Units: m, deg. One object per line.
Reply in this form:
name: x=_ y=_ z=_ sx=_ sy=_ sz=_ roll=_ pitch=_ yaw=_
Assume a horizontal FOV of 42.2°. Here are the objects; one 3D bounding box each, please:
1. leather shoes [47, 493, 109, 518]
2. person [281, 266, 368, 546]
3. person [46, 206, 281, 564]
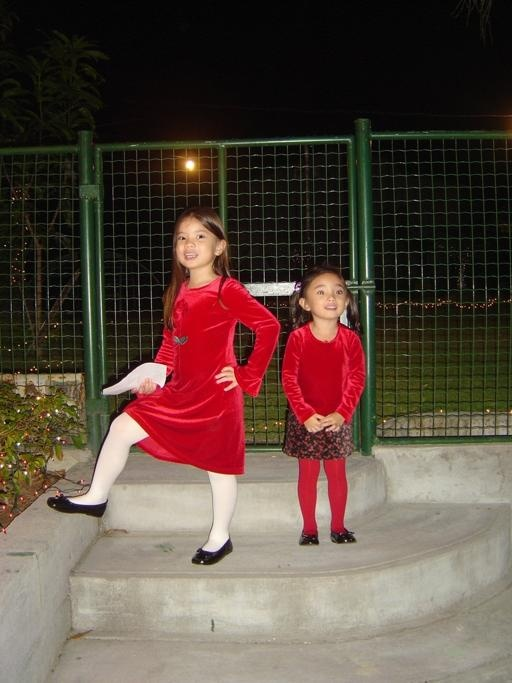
leather shoes: x=-0.750 y=0.682 z=2.801 sx=0.271 sy=0.090 sz=0.092 roll=18 pitch=-2 yaw=-19
person: x=0.310 y=0.292 z=3.088 sx=0.368 sy=1.250 sz=0.393 roll=-1 pitch=2 yaw=22
person: x=-0.323 y=0.189 z=2.887 sx=0.843 sy=1.519 sz=0.342 roll=-2 pitch=2 yaw=-2
